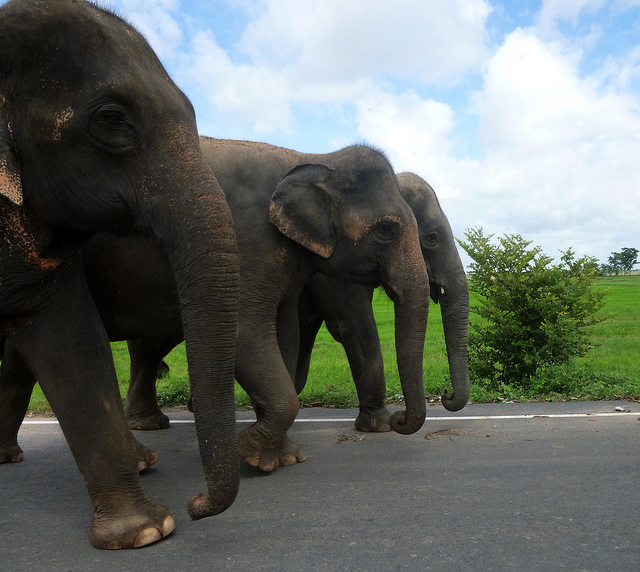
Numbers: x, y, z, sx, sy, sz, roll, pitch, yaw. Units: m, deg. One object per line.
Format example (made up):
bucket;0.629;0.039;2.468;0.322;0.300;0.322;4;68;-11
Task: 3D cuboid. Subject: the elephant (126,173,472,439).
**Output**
elephant;0.139;0.091;6.683;1.604;2.696;3.400;-18;12;-38

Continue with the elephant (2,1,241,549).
elephant;-1.024;-0.012;3.029;1.197;2.740;0.782;0;-1;-10

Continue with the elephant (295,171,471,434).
elephant;0.710;0.086;5.843;1.862;2.649;1.325;-1;-1;-7
